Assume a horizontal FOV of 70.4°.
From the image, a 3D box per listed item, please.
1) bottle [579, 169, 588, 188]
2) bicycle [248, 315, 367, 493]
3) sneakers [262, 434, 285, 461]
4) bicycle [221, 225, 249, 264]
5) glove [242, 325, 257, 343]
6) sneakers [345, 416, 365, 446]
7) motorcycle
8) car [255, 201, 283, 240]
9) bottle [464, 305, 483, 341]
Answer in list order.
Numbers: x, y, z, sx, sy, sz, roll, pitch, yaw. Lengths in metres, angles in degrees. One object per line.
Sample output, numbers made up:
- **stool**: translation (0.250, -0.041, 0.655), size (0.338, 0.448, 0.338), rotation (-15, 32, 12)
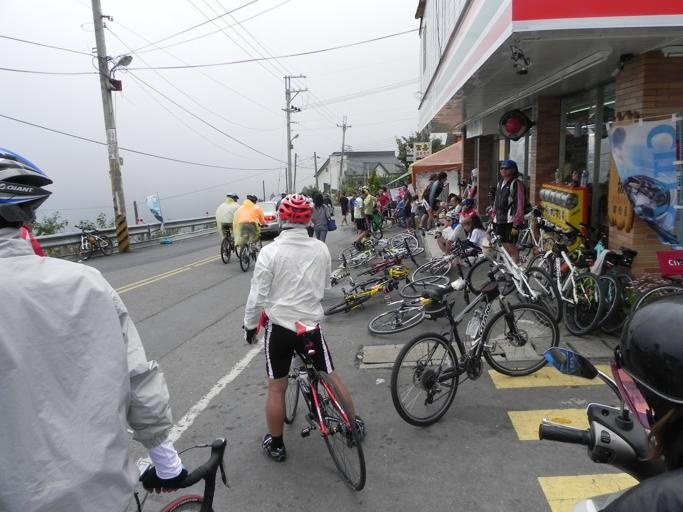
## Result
- **bottle**: translation (4.969, -1.606, 9.944), size (0.159, 0.304, 0.663), rotation (2, 10, 26)
- **bicycle**: translation (-0.337, 1.255, 4.443), size (0.481, 1.131, 1.978), rotation (-14, 7, -19)
- **sneakers**: translation (-0.582, 1.658, 4.191), size (0.115, 0.131, 0.295), rotation (-6, 20, -20)
- **bicycle**: translation (-3.441, -0.348, 14.901), size (0.670, 0.893, 1.409), rotation (0, 11, -1)
- **glove**: translation (-0.801, 0.686, 4.187), size (0.074, 0.219, 0.095), rotation (-2, 40, -9)
- **sneakers**: translation (0.117, 1.379, 3.817), size (0.128, 0.173, 0.400), rotation (0, 9, 6)
- **motorcycle**: translation (1.079, 0.684, 2.026), size (0.620, 0.426, 0.414), rotation (-10, 31, -6)
- **car**: translation (-3.558, -1.678, 23.378), size (1.483, 1.181, 3.372), rotation (0, 13, 3)
- **bottle**: translation (1.381, 0.711, 5.087), size (0.165, 0.320, 0.074), rotation (19, -13, 6)
